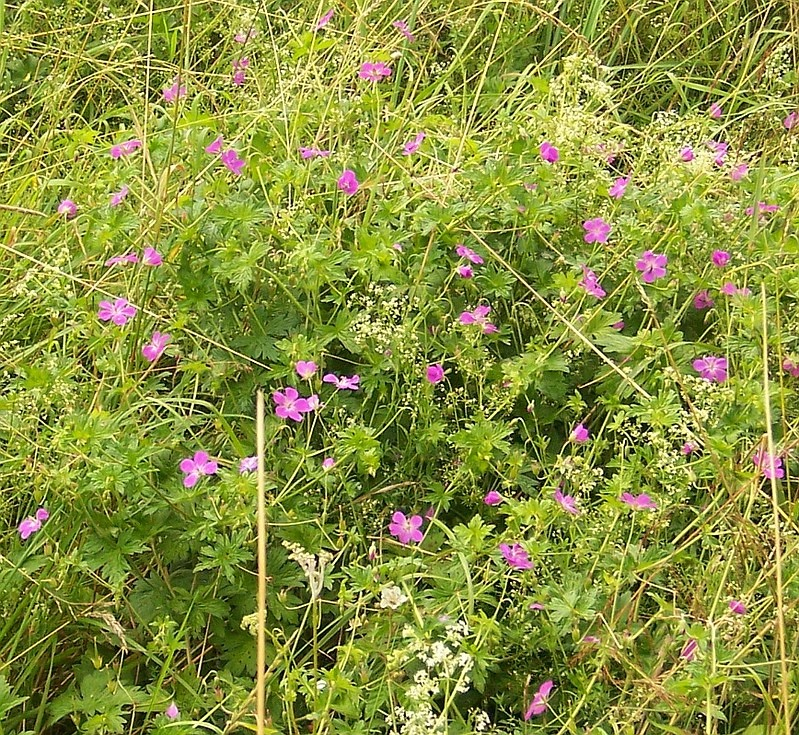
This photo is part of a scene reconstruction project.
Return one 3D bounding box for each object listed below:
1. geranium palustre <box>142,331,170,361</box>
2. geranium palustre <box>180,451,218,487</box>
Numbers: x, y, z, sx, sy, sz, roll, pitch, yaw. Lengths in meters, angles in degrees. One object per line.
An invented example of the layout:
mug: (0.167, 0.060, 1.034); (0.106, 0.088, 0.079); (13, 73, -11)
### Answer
geranium palustre: (-0.670, -0.052, 2.409); (0.079, 0.037, 0.079); (21, 78, 50)
geranium palustre: (-0.496, 0.262, 2.148); (0.083, 0.027, 0.101); (0, 82, -6)
